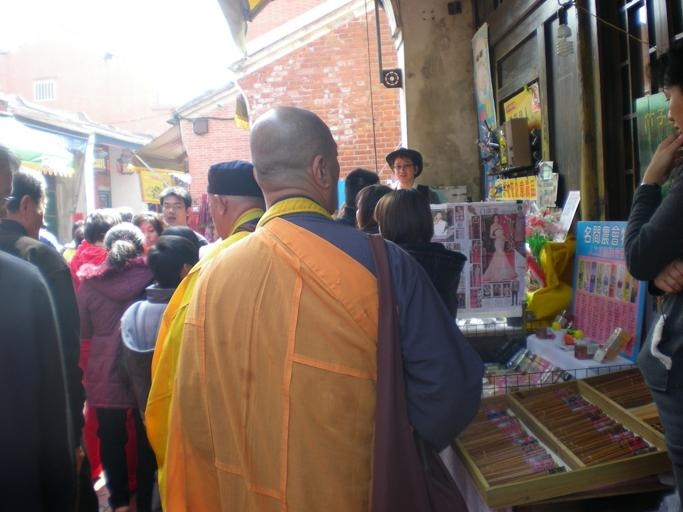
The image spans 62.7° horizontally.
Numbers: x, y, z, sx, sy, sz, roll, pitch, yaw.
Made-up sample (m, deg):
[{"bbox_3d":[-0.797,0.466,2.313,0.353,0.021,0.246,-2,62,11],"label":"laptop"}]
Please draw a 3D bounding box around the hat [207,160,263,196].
[{"bbox_3d":[-0.527,-0.379,2.743,0.236,0.154,0.157,-3,15,-7],"label":"hat"}]
